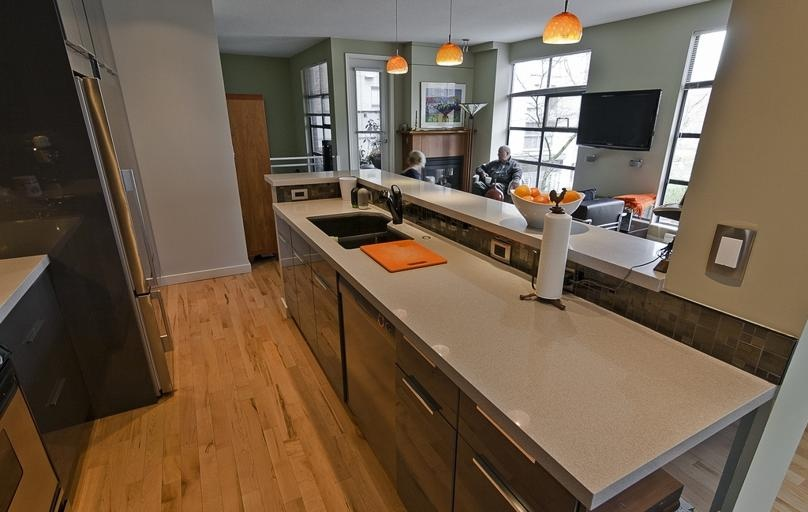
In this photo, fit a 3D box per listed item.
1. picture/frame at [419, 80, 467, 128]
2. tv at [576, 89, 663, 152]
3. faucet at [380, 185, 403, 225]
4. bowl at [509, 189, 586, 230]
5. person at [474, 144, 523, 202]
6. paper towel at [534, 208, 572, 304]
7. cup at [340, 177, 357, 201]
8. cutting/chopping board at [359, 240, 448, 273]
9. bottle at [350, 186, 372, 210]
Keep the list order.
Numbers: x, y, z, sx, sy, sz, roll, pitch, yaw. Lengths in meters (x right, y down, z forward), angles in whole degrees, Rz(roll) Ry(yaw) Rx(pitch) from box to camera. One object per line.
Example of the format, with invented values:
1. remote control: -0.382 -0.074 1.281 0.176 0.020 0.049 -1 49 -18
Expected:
1. picture/frame: 0.640 -2.652 8.403 0.813 0.696 0.058 -8 21 -28
2. tv: 2.819 -1.760 6.295 0.099 0.654 0.887 -11 24 -39
3. faucet: -0.085 -0.412 3.700 0.168 0.275 0.281 2 19 3
4. bowl: 0.811 -0.306 2.808 0.285 0.197 0.287 1 15 0
5. person: 1.414 -1.263 7.578 0.635 0.847 1.034 9 20 21
6. paper towel: 0.791 0.007 2.551 0.165 0.464 0.123 2 19 1
7. cup: -0.479 -0.588 4.258 0.181 0.192 0.182 1 13 0
8. cutting/chopping board: -0.002 -0.005 3.094 0.438 0.067 0.438 -7 20 -23
9. bottle: -0.374 -0.484 4.017 0.180 0.154 0.131 6 19 14
